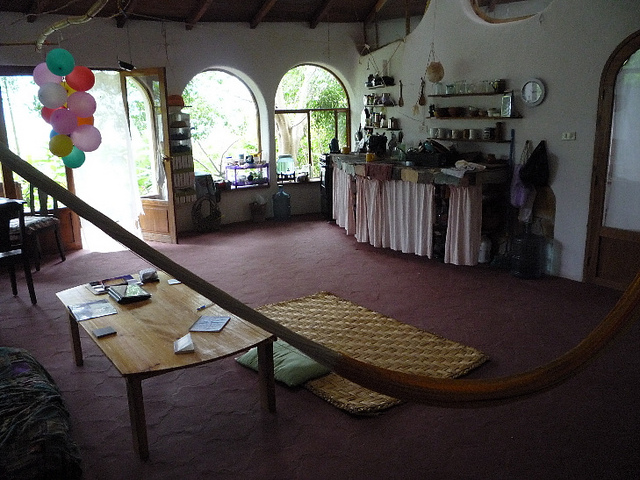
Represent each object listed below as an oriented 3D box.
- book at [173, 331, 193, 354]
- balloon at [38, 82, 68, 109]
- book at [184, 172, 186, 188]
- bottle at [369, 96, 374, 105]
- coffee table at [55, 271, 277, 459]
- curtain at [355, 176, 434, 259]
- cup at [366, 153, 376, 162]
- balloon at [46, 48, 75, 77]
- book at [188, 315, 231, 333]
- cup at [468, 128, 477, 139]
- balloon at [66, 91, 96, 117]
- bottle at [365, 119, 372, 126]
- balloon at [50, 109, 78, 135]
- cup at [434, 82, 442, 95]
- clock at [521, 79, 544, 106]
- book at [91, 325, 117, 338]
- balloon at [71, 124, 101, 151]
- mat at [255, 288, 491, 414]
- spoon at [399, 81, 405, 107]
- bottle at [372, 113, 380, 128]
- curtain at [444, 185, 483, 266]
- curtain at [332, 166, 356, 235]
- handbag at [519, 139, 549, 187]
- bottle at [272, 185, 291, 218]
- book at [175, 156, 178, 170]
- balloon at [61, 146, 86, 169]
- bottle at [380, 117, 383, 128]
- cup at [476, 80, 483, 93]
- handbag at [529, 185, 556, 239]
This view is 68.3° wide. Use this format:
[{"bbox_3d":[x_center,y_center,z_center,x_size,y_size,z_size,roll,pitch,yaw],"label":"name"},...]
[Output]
[{"bbox_3d":[-0.976,0.748,3.354,0.087,0.047,0.164,-7,21,-15],"label":"book"},{"bbox_3d":[-2.995,-1.621,5.292,0.250,0.255,0.293,17,-8,-5],"label":"balloon"},{"bbox_3d":[-2.337,-1.028,8.159,0.031,0.251,0.047,-11,15,-40],"label":"book"},{"bbox_3d":[0.954,-2.591,8.774,0.093,0.155,0.086,-1,11,0],"label":"bottle"},{"bbox_3d":[-1.266,0.952,3.850,1.030,0.801,1.689,-11,15,-40],"label":"coffee table"},{"bbox_3d":[1.120,-0.319,6.872,1.118,0.954,0.129,12,17,40],"label":"curtain"},{"bbox_3d":[0.814,-1.352,7.687,0.177,0.162,0.105,-2,9,-13],"label":"cup"},{"bbox_3d":[-2.908,-1.997,5.289,0.266,0.290,0.200,-7,13,-29],"label":"balloon"},{"bbox_3d":[-0.863,0.669,3.701,0.276,0.039,0.262,0,11,6],"label":"book"},{"bbox_3d":[2.134,-1.485,6.649,0.131,0.132,0.060,9,15,42],"label":"cup"},{"bbox_3d":[-2.792,-1.623,5.543,0.321,0.285,0.276,9,5,-32],"label":"balloon"},{"bbox_3d":[0.917,-2.249,9.060,0.128,0.146,0.130,9,19,32],"label":"bottle"},{"bbox_3d":[-2.901,-1.333,5.348,0.272,0.274,0.193,-7,13,-29],"label":"balloon"},{"bbox_3d":[1.775,-2.279,7.113,0.111,0.195,0.218,1,12,13],"label":"cup"},{"bbox_3d":[2.677,-1.853,5.930,0.047,0.358,0.352,-6,7,-25],"label":"clock"},{"bbox_3d":[-1.642,0.707,3.593,0.150,0.030,0.145,-9,14,-35],"label":"book"},{"bbox_3d":[-2.753,-1.188,5.515,0.239,0.238,0.273,41,-3,1],"label":"balloon"},{"bbox_3d":[0.421,0.970,4.614,1.608,0.280,1.965,-7,13,-27],"label":"mat"},{"bbox_3d":[1.394,-2.500,8.098,0.037,0.432,0.129,-7,13,-28],"label":"spoon"},{"bbox_3d":[1.034,-2.209,8.742,0.087,0.260,0.250,-2,11,-5],"label":"bottle"},{"bbox_3d":[1.922,-0.179,6.302,0.467,1.090,0.243,1,11,10],"label":"curtain"},{"bbox_3d":[0.420,-0.664,8.063,0.160,0.907,1.102,-5,13,-16],"label":"curtain"},{"bbox_3d":[2.686,-0.940,5.909,0.350,0.580,0.162,3,12,18],"label":"handbag"},{"bbox_3d":[-0.770,-0.747,9.384,0.354,0.651,0.343,-1,11,0],"label":"bottle"},{"bbox_3d":[-2.421,-1.293,7.948,0.020,0.210,0.053,8,14,39],"label":"book"},{"bbox_3d":[-2.946,-0.976,5.672,0.241,0.243,0.139,37,4,-33],"label":"balloon"},{"bbox_3d":[1.120,-2.144,8.644,0.051,0.161,0.114,-1,11,2],"label":"bottle"},{"bbox_3d":[2.191,-2.096,6.486,0.118,0.154,0.084,10,16,44],"label":"cup"},{"bbox_3d":[2.843,-0.356,5.992,0.070,0.660,0.295,-8,13,-33],"label":"handbag"}]
